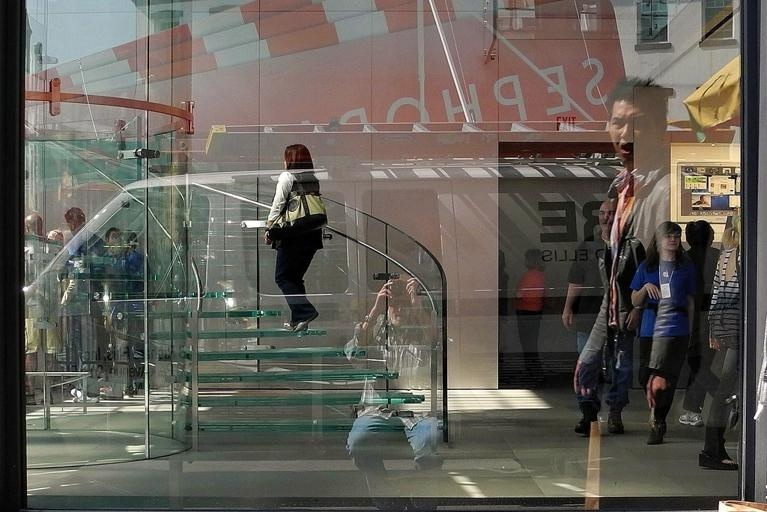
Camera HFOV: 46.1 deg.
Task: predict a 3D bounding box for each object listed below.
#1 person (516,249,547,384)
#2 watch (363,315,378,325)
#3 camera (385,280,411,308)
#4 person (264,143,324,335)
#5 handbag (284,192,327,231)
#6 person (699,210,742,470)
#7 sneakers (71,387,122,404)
[{"bbox_3d":[0.773,0.328,4.789,0.168,0.725,0.134,0,-2,-10],"label":"person"},{"bbox_3d":[-0.075,0.340,4.774,0.052,0.044,0.050,1,4,-10],"label":"watch"},{"bbox_3d":[0.076,0.199,4.758,0.152,0.122,0.034,2,4,6],"label":"camera"},{"bbox_3d":[-0.467,-0.097,4.778,0.313,0.982,0.107,0,-2,-7],"label":"person"},{"bbox_3d":[-0.448,-0.262,4.819,0.246,0.206,0.103,-13,18,-33],"label":"handbag"},{"bbox_3d":[1.747,0.447,4.626,0.140,1.327,0.335,0,-2,-4],"label":"person"},{"bbox_3d":[-1.647,0.781,5.057,0.162,0.059,0.088,3,0,-5],"label":"sneakers"}]
